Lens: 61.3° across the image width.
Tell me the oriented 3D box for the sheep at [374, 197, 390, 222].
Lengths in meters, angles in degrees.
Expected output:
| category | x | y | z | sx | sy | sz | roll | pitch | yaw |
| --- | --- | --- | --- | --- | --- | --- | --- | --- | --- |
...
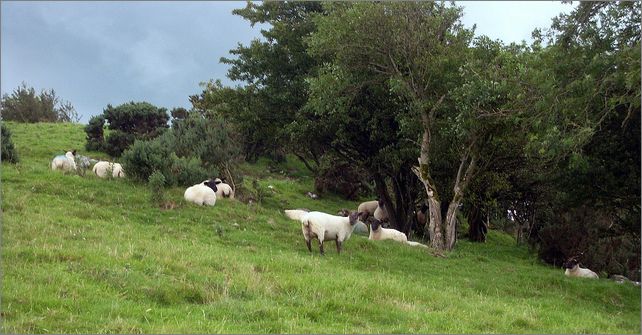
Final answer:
| category | x | y | z | sx | sy | sz | roll | pitch | yaw |
| --- | --- | --- | --- | --- | --- | --- | --- | --- | --- |
| sheep | 6.574 | 4.488 | 57.236 | 0.957 | 2.730 | 1.461 | 1 | 23 | -14 |
